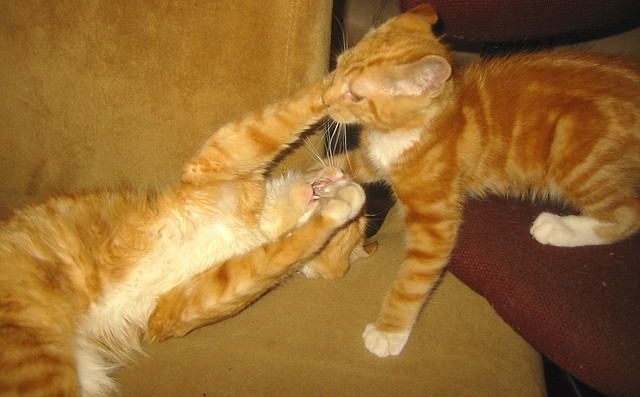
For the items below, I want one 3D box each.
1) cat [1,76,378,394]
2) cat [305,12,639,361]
[{"bbox_3d":[-0.655,0.181,2.936,1.489,1.111,0.532,-9,58,-15],"label":"cat"},{"bbox_3d":[0.643,-0.079,3.140,1.715,0.931,1.183,-19,47,26],"label":"cat"}]
